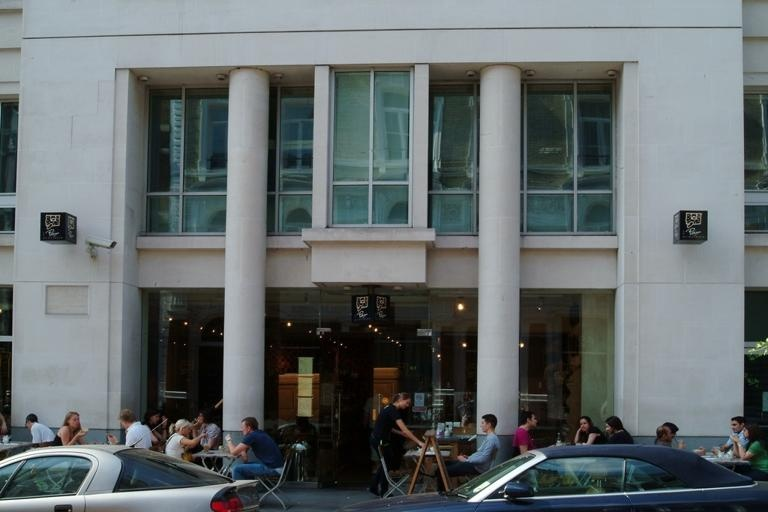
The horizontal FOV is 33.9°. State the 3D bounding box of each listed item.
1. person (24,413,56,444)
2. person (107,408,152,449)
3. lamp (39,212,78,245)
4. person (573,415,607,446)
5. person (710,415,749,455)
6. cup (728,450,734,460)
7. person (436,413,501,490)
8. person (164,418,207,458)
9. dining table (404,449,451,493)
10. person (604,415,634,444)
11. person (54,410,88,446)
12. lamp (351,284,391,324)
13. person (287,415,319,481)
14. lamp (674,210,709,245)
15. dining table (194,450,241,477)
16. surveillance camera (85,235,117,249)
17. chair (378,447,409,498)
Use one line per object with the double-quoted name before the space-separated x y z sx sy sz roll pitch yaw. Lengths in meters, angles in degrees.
"person" -7.644 3.897 28.101 0.632 0.707 0.801 1 -7 -16
"person" -5.395 3.960 26.755 0.763 1.244 0.706 1 6 9
"lamp" -7.403 -0.598 28.649 0.720 0.713 0.749 -2 -2 40
"person" 4.455 3.831 27.538 0.682 0.569 2.028 -2 -7 9
"person" 7.391 3.934 26.925 0.790 0.904 0.726 -10 6 -41
"cup" 7.262 4.222 26.458 0.105 0.181 0.102 0 0 0
"person" 1.790 4.341 26.941 1.222 1.832 0.787 6 -5 17
"person" -4.427 4.172 27.616 0.915 1.057 0.673 2 2 3
"dining table" 0.890 4.675 27.871 1.198 1.051 1.144 -2 -14 1
"person" 4.865 3.739 26.556 0.589 0.703 0.763 -4 -8 24
"person" -6.801 3.912 27.531 0.854 0.905 0.568 -5 -8 20
"lamp" -0.334 1.211 29.447 0.877 0.635 0.842 1 -5 -12
"person" -1.915 4.601 29.844 0.643 1.490 0.246 -1 -8 0
"lamp" 6.820 -0.621 28.081 0.842 0.591 0.821 2 -1 19
"dining table" -3.718 4.601 28.035 1.164 0.552 0.628 -3 -16 12
"surveillance camera" -6.454 -0.292 28.689 0.552 0.181 0.291 4 0 9
"chair" 0.241 4.799 27.523 0.815 1.045 0.685 5 -11 -10
